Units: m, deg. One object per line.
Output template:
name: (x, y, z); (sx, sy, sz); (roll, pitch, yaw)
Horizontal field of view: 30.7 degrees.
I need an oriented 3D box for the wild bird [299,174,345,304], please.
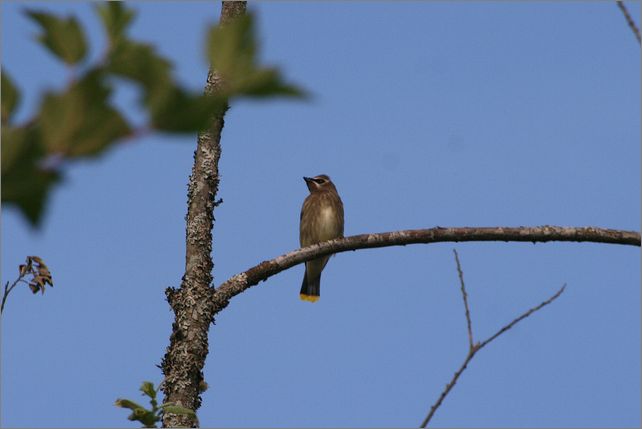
wild bird: (-0.004, 0.167, 10.779); (0.381, 1.283, 0.523); (3, -4, -13)
